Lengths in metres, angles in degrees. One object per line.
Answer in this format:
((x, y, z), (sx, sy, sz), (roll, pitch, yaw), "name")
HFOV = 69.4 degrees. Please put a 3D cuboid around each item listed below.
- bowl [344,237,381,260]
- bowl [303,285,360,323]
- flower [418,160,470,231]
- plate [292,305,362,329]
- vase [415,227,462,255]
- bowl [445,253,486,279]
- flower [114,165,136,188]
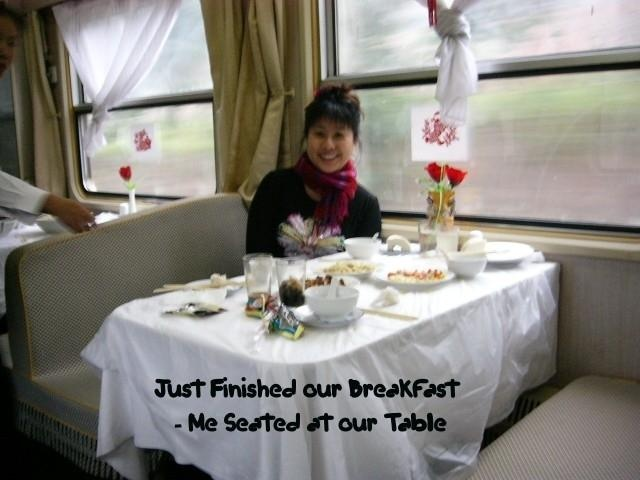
((0.155, 0.032, 1.710), (0.087, 0.059, 0.093), (0, 2, 0), "bowl")
((0.029, 0.165, 1.180), (0.138, 0.072, 0.140), (0, 8, 0), "bowl")
((0.458, -0.171, 1.749), (0.168, 0.236, 0.149), (7, 14, 35), "flower")
((0.011, 0.195, 1.157), (0.180, 0.023, 0.106), (2, 13, 17), "plate")
((0.452, -0.003, 1.737), (0.105, 0.085, 0.102), (-2, 1, -44), "vase")
((0.468, 0.074, 1.459), (0.085, 0.068, 0.091), (-1, 1, 0), "bowl")
((-1.412, -0.465, 3.343), (0.109, 0.208, 0.084), (30, 40, 32), "flower")
